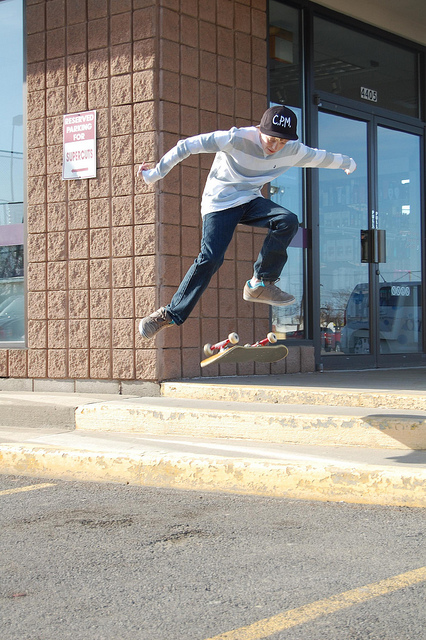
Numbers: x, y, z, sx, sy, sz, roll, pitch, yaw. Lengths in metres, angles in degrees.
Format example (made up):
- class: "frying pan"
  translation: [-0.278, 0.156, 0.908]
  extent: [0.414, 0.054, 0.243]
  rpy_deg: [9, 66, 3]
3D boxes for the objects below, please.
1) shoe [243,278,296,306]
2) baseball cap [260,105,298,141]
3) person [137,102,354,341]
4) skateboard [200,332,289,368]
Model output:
- class: "shoe"
  translation: [0.376, -0.202, 4.907]
  extent: [0.447, 0.177, 0.141]
  rpy_deg: [7, 27, 13]
- class: "baseball cap"
  translation: [0.397, -1.180, 4.351]
  extent: [0.197, 0.128, 0.230]
  rpy_deg: [-1, 34, -21]
- class: "person"
  translation: [0.167, -0.592, 4.687]
  extent: [1.274, 1.394, 0.740]
  rpy_deg: [-2, 2, 10]
- class: "skateboard"
  translation: [0.176, 0.211, 4.522]
  extent: [0.347, 0.120, 0.342]
  rpy_deg: [2, -9, -38]
